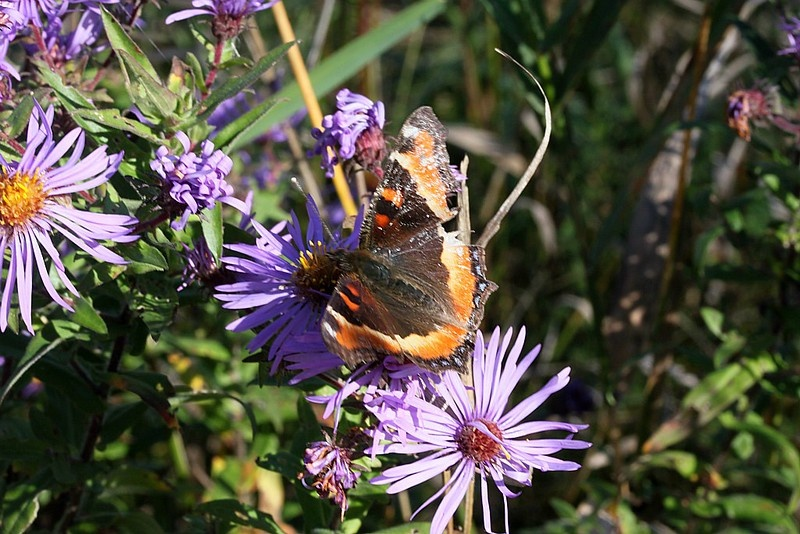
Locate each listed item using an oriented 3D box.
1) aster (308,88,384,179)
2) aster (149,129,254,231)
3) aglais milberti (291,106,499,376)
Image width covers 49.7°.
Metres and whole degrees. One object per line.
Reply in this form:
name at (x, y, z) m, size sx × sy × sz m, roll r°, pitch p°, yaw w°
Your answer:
aster at (-0.160, -0.453, 2.705) m, size 0.227 × 0.183 × 0.259 m, roll -12°, pitch 64°, yaw 13°
aster at (-0.583, -0.251, 2.466) m, size 0.215 × 0.134 × 0.272 m, roll -18°, pitch 67°, yaw -15°
aglais milberti at (0.019, -0.007, 2.591) m, size 0.580 × 0.794 × 0.720 m, roll -2°, pitch 24°, yaw 3°
